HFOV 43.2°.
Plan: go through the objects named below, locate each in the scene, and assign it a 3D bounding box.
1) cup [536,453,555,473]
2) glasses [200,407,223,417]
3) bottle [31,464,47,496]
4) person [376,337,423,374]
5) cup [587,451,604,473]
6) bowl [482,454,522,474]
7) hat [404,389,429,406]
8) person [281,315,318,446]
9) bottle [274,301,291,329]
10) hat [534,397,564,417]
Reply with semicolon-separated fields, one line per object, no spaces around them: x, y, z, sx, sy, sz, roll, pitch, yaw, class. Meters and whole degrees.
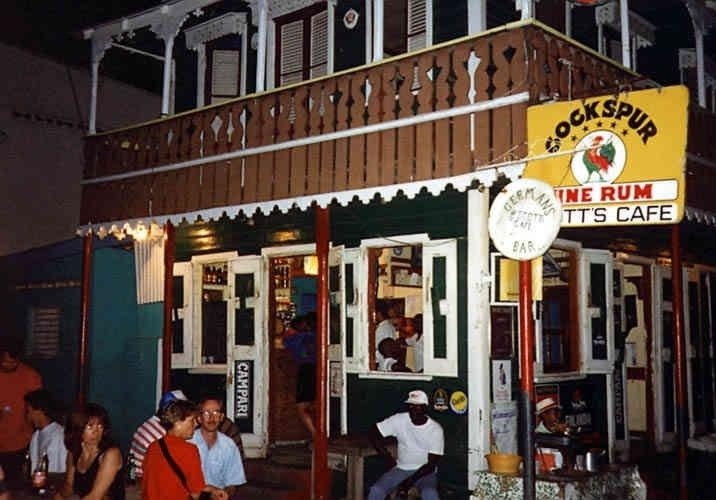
3.113;3.502;14.797;0.278;0.376;0.390;1;-3;-1;cup
-2.164;2.401;13.253;0.323;0.118;0.178;6;-14;-24;glasses
-5.124;3.703;14.496;0.231;0.495;0.466;4;-13;-19;bottle
0.656;1.961;16.666;0.576;0.677;1.002;0;-13;1;person
3.802;3.403;14.435;0.253;0.335;0.273;0;-6;0;cup
2.268;3.290;13.788;0.556;0.314;0.426;0;-13;-2;bowl
1.034;2.491;15.053;0.241;0.175;0.327;-8;-18;41;hat
-1.103;2.349;17.196;0.587;2.394;1.307;1;-12;-5;person
-1.672;1.451;20.262;0.400;0.617;0.206;-2;-17;15;bottle
3.239;2.646;15.358;0.343;0.142;0.330;-22;-13;16;hat
